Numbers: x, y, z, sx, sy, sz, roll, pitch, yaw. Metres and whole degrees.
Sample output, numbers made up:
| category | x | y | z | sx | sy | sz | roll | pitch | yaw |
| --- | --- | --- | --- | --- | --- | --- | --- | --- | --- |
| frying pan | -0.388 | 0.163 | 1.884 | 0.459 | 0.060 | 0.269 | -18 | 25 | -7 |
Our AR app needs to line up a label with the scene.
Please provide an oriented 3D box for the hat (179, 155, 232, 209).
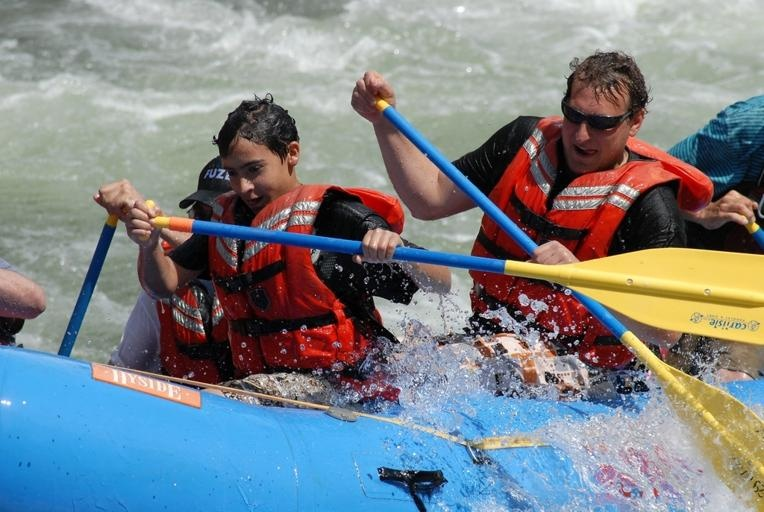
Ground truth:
| category | x | y | z | sx | sy | sz | roll | pitch | yaw |
| --- | --- | --- | --- | --- | --- | --- | --- | --- | --- |
| hat | -1.098 | -0.460 | 6.335 | 0.418 | 0.225 | 0.267 | -28 | 20 | -32 |
